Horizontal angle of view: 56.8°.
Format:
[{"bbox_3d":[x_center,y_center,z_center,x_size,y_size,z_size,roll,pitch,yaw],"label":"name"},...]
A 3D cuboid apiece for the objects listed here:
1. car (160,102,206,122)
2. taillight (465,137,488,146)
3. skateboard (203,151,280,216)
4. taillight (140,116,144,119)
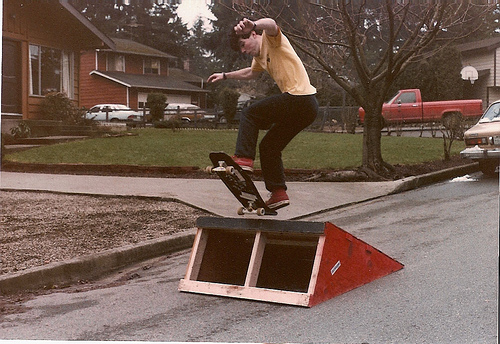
[{"bbox_3d":[-4.966,-4.599,35.341,2.018,1.259,3.647,1,3,10],"label":"car"},{"bbox_3d":[5.825,-0.788,11.901,0.074,0.266,0.566,-9,15,-38],"label":"taillight"},{"bbox_3d":[-0.096,0.202,5.951,0.456,0.217,1.320,-2,-38,35],"label":"skateboard"},{"bbox_3d":[-7.393,-3.688,31.524,0.195,0.196,0.106,3,-24,-44],"label":"taillight"}]
